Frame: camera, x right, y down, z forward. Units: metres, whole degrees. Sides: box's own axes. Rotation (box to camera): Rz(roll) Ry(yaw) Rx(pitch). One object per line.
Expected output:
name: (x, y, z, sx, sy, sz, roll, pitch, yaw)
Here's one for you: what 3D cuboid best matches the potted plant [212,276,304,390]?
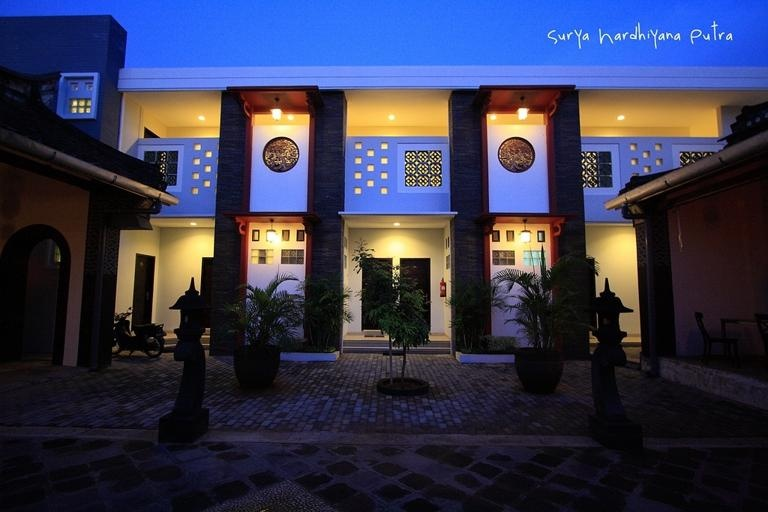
potted plant: (-2.733, 1.795, 12.926, 2.577, 2.883, 2.450, 2, -12, -3)
